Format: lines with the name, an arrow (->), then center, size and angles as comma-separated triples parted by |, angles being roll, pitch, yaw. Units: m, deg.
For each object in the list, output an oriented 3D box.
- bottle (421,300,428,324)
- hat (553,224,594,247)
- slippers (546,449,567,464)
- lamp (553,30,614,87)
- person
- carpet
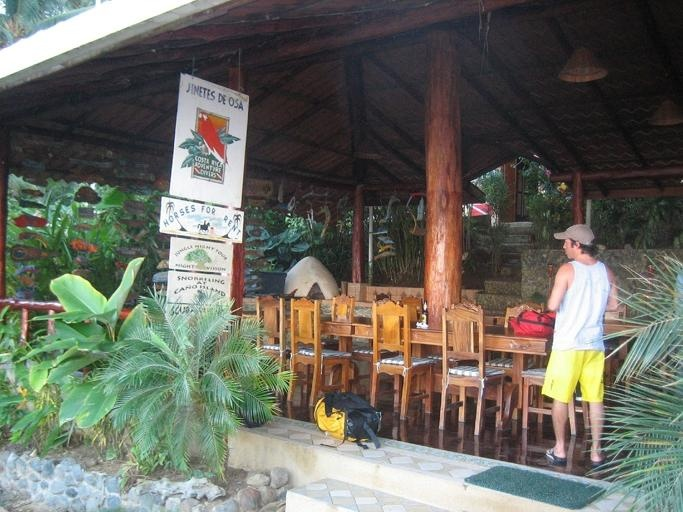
bottle -> 0.934, 0.621, 6.193 | 0.083, 0.265, 0.118 | 3, -8, -21
hat -> 1.966, -0.181, 4.722 | 0.282, 0.155, 0.195 | 18, 19, 39
slippers -> 1.774, 1.667, 4.603 | 0.076, 0.079, 0.185 | -2, 7, -15
lamp -> 2.738, -2.236, 6.489 | 0.608, 0.622, 0.592 | -5, 5, 2
person -> 1.931, 0.718, 4.556 | 0.608, 2.017, 0.630 | -3, -8, 25
carpet -> 1.416, 1.700, 4.097 | 0.858, 0.138, 0.568 | -5, -9, 35
